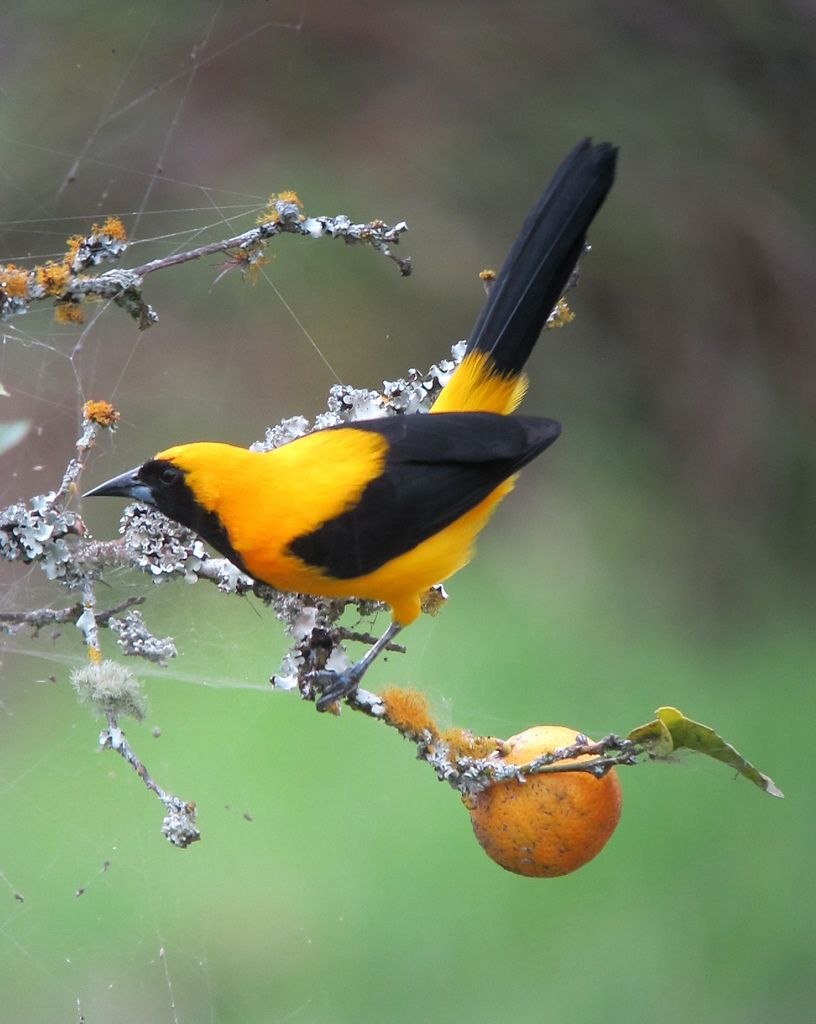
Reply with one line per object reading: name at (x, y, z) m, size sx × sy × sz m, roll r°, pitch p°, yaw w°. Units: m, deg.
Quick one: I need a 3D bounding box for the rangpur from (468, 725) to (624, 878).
rangpur at (0.265, 0.620, 2.531) m, size 0.346 × 0.305 × 0.301 m, roll -4°, pitch 11°, yaw -23°

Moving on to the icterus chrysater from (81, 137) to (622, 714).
icterus chrysater at (-0.074, -0.142, 2.597) m, size 1.288 × 0.849 × 0.383 m, roll -20°, pitch 21°, yaw -14°
